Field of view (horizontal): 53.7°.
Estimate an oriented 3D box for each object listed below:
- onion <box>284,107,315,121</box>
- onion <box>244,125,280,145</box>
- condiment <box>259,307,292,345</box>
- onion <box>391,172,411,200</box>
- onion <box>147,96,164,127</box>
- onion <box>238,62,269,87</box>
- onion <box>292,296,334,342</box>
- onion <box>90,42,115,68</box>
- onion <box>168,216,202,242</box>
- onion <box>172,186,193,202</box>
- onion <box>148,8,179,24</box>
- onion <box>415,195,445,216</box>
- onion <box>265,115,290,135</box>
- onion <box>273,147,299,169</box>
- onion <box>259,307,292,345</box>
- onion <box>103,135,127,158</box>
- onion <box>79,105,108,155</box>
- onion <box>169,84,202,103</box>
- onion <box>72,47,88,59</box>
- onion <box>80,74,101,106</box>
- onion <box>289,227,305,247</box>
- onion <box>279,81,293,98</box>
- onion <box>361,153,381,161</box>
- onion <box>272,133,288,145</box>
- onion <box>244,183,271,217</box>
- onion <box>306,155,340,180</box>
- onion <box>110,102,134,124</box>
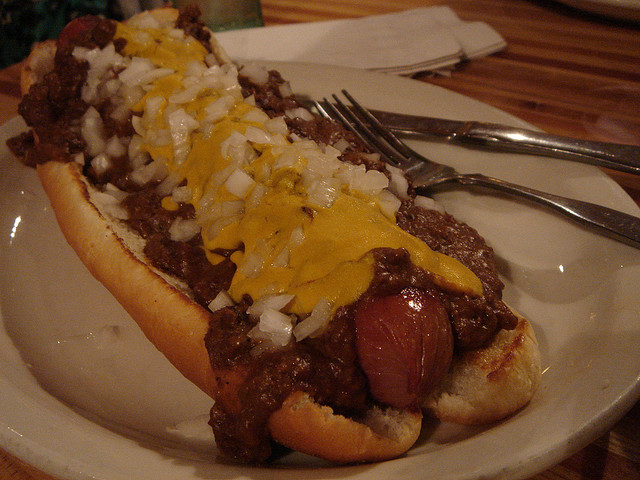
[{"bbox_3d":[-0.115,-0.680,3.456,0.154,0.032,0.088,-5,42,-40],"label":"onion"},{"bbox_3d":[-0.265,-0.473,2.871,0.135,0.040,0.080,23,46,-3],"label":"onion"},{"bbox_3d":[-0.171,0.345,2.532,0.147,0.056,0.110,24,79,0],"label":"condiment"},{"bbox_3d":[0.417,-0.281,3.213,0.096,0.134,0.036,-23,12,34],"label":"onion"},{"bbox_3d":[-0.797,-0.632,3.106,0.088,0.036,0.128,9,81,21],"label":"onion"},{"bbox_3d":[-0.359,-0.922,3.502,0.157,0.052,0.143,35,90,-8],"label":"onion"},{"bbox_3d":[-0.024,0.324,2.529,0.188,0.130,0.080,-30,53,-20],"label":"onion"},{"bbox_3d":[-1.073,-0.913,3.126,0.080,0.032,0.129,40,82,-2],"label":"onion"},{"bbox_3d":[-0.636,-0.051,2.963,0.128,0.037,0.119,16,85,25],"label":"onion"},{"bbox_3d":[-0.645,-0.215,2.968,0.106,0.024,0.069,-12,83,27],"label":"onion"},{"bbox_3d":[-0.856,-1.244,3.472,0.127,0.028,0.090,-23,58,-20],"label":"onion"},{"bbox_3d":[0.556,-0.182,3.203,0.156,0.043,0.085,22,31,30],"label":"onion"},{"bbox_3d":[-0.203,-0.549,3.027,0.108,0.033,0.096,-14,65,-24],"label":"onion"},{"bbox_3d":[-0.144,-0.355,2.741,0.068,0.024,0.111,21,49,26],"label":"onion"},{"bbox_3d":[-0.176,0.344,2.531,0.143,0.054,0.118,27,79,0],"label":"onion"},{"bbox_3d":[-1.039,-0.471,3.186,0.126,0.040,0.101,-1,97,19],"label":"onion"},{"bbox_3d":[-1.139,-0.549,3.193,0.132,0.079,0.221,-15,99,-15],"label":"onion"},{"bbox_3d":[-0.657,-0.702,3.059,0.126,0.029,0.075,-41,71,-8],"label":"onion"},{"bbox_3d":[-1.189,-0.927,3.125,0.063,0.016,0.057,7,56,-8],"label":"onion"},{"bbox_3d":[-1.145,-0.744,3.148,0.102,0.140,0.035,25,7,-23],"label":"onion"},{"bbox_3d":[-0.096,-0.010,2.595,0.061,0.021,0.083,16,78,23],"label":"onion"},{"bbox_3d":[-0.191,-0.845,3.557,0.076,0.023,0.096,18,43,8],"label":"onion"},{"bbox_3d":[0.269,-0.445,3.340,0.073,0.018,0.067,-5,27,-23],"label":"onion"},{"bbox_3d":[-0.191,-0.468,2.918,0.055,0.021,0.087,-5,23,-2],"label":"onion"},{"bbox_3d":[-0.270,-0.178,2.744,0.076,0.038,0.137,38,85,21],"label":"onion"},{"bbox_3d":[0.009,-0.306,2.773,0.129,0.092,0.175,0,48,6],"label":"onion"},{"bbox_3d":[-0.984,-0.637,3.186,0.070,0.044,0.132,40,87,13],"label":"onion"}]
